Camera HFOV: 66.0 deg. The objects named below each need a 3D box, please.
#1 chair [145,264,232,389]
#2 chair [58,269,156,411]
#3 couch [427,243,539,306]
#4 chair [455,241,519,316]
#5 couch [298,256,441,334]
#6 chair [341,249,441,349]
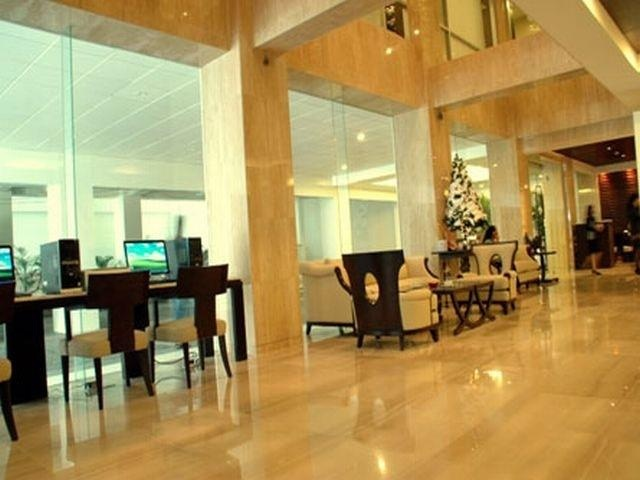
[{"bbox_3d":[-1.334,0.831,5.074,0.764,1.147,0.792,-2,2,17],"label":"chair"},{"bbox_3d":[-1.965,0.884,4.599,0.682,1.123,0.685,-5,-3,35],"label":"chair"},{"bbox_3d":[2.675,0.535,8.286,1.274,1.637,1.248,-5,-8,32],"label":"couch"},{"bbox_3d":[2.902,0.626,8.386,0.837,1.148,0.847,-5,-3,36],"label":"chair"},{"bbox_3d":[0.851,0.711,7.214,2.072,0.976,1.128,-5,-3,-39],"label":"couch"},{"bbox_3d":[0.867,0.700,6.051,0.902,1.130,1.103,-3,-2,30],"label":"chair"}]
